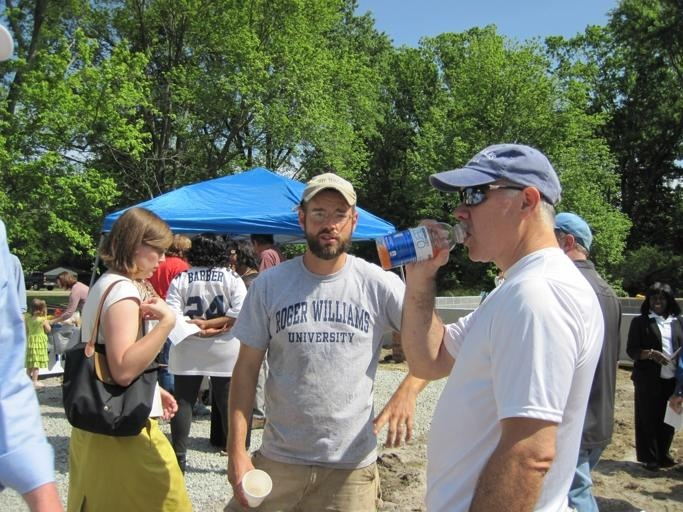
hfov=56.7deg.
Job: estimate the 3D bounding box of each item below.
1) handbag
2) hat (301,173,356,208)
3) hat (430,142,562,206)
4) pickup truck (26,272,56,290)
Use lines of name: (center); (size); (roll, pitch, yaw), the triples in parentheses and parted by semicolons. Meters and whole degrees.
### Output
handbag: (-1.356, 0.611, 3.736); (0.525, 0.936, 0.258); (26, -40, -38)
hat: (-0.063, -0.394, 3.905); (0.334, 0.224, 0.459); (2, -7, -5)
hat: (0.738, -0.366, 2.930); (0.614, 0.236, 0.394); (6, -5, 13)
pickup truck: (-22.637, 1.850, 47.521); (1.531, 1.315, 3.301); (0, 5, -44)
